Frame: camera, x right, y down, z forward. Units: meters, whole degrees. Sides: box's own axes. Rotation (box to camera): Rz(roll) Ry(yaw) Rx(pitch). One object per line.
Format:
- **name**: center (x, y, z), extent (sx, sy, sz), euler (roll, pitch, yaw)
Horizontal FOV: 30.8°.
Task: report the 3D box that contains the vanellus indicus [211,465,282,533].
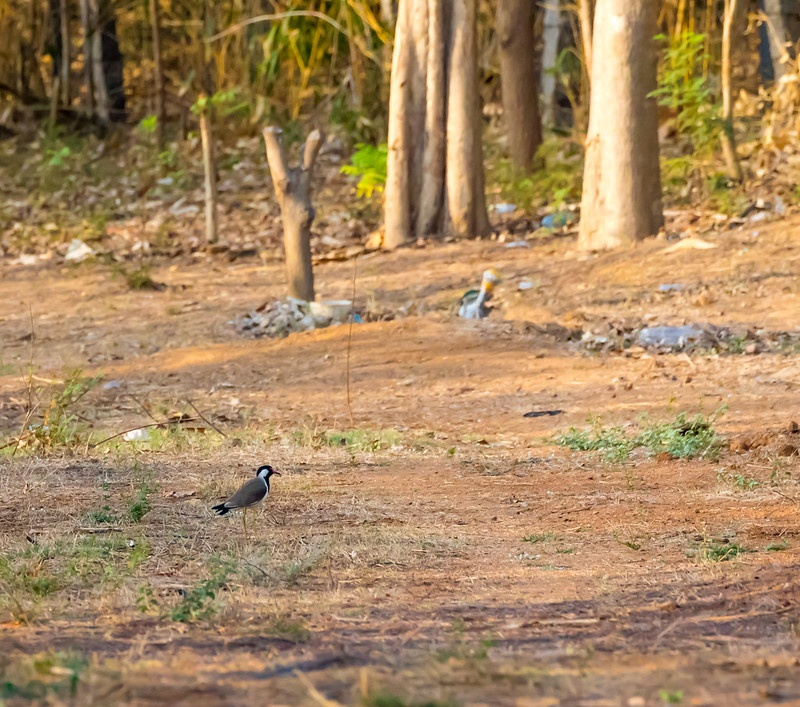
- **vanellus indicus**: center (-1.097, 1.000, 10.270), extent (0.490, 0.442, 0.219), euler (0, 6, -23)
